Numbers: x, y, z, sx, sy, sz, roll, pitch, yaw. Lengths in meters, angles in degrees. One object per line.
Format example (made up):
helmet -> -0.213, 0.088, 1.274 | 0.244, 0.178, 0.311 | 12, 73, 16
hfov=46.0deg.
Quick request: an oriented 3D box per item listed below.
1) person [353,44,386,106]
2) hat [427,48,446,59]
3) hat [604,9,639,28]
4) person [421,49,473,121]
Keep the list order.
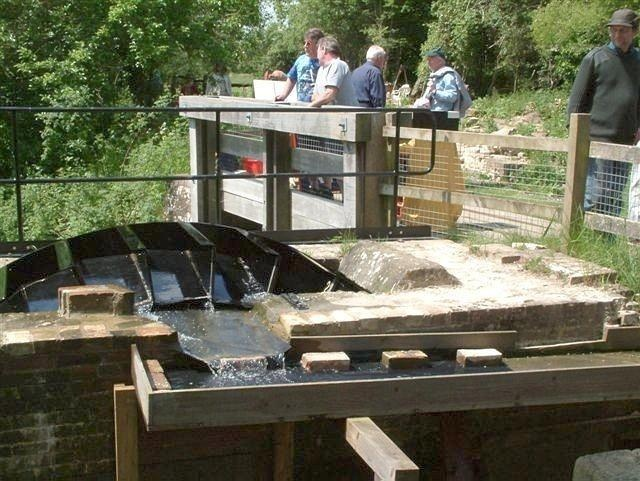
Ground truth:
person -> 0.583, -2.044, 9.376 | 0.413, 0.751, 0.859 | -1, 12, 5
hat -> 1.424, -2.334, 9.421 | 0.232, 0.083, 0.145 | 4, 19, 5
hat -> 2.913, -2.087, 7.225 | 0.276, 0.134, 0.211 | -5, 15, -43
person -> 1.537, -1.946, 9.324 | 0.607, 0.859, 0.782 | -1, 12, 4
